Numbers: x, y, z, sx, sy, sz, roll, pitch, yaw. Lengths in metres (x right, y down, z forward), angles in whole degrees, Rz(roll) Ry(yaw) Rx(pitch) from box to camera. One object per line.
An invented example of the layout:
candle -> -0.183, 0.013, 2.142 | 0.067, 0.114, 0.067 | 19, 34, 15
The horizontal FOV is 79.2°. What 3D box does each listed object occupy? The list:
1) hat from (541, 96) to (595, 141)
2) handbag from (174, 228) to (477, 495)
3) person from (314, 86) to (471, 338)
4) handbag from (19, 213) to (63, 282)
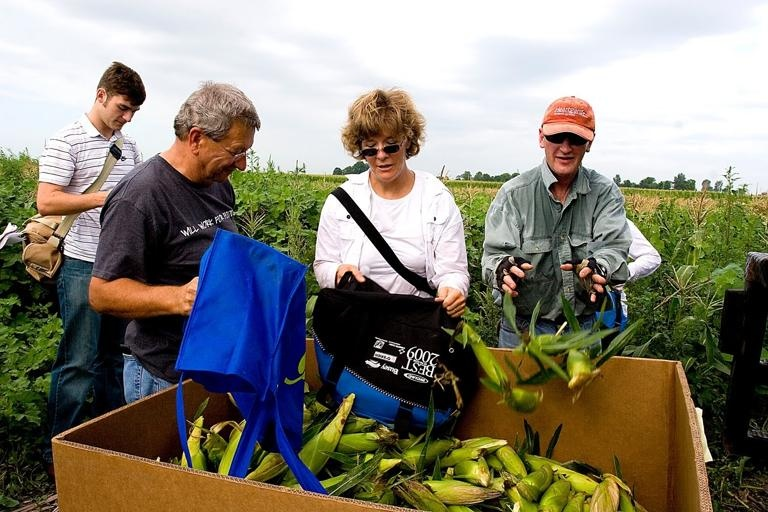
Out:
hat -> 1.338, -1.004, 3.364 | 0.397, 0.269, 0.536 | 13, 23, 30
handbag -> -0.357, 0.535, 2.199 | 0.961, 1.150, 0.964 | 21, -33, -26
person -> 0.034, -0.266, 3.227 | 1.104, 1.726, 1.067 | 0, 7, 12
handbag -> -3.215, -0.155, 4.340 | 0.371, 0.662, 0.483 | 7, 21, -40
